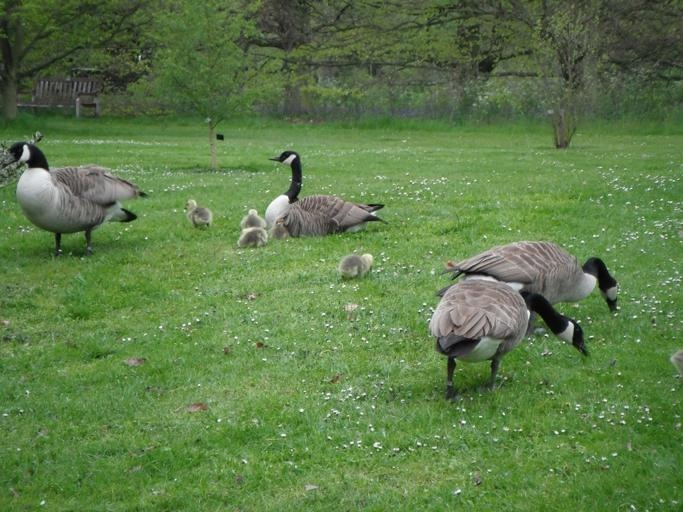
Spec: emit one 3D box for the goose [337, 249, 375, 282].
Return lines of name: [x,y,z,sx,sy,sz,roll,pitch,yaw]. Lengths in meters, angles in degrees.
goose: [0.306,0.216,18.726,0.380,0.437,0.815,5,22,30]

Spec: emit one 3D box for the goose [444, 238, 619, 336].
goose: [3.710,0.505,16.976,3.653,1.693,1.315,18,-4,5]

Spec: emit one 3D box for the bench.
bench: [-15.851,-8.819,48.355,5.023,2.335,1.917,-12,19,-43]
